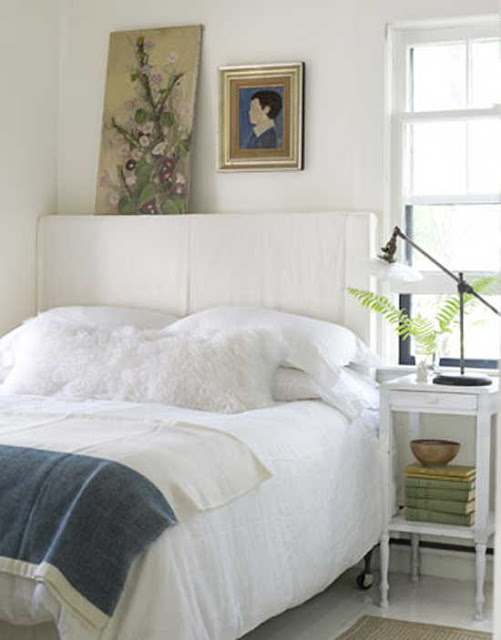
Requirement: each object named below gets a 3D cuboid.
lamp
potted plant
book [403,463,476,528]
[{"bbox_3d":[0.713,-0.086,2.694,0.450,0.501,0.785,8,13,10],"label":"lamp"},{"bbox_3d":[0.656,0.013,2.729,0.402,0.223,0.366,3,-1,-27],"label":"potted plant"},{"bbox_3d":[0.666,0.596,2.448,0.251,0.172,0.184,-6,-7,32],"label":"book"}]
